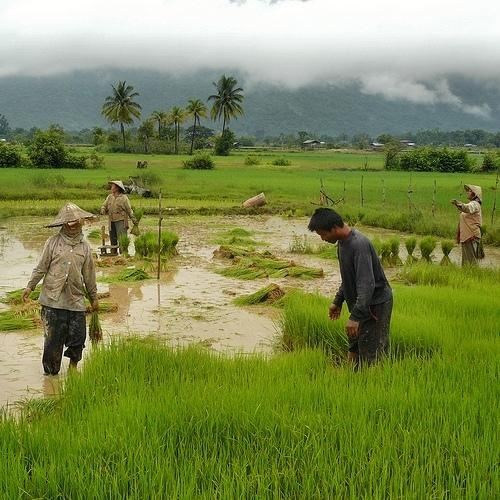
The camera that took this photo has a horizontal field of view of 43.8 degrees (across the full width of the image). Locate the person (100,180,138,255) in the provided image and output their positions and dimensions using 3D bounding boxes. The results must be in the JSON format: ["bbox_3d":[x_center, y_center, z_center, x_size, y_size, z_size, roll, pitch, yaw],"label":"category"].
[{"bbox_3d":[-3.090,-0.709,14.623,0.715,1.780,1.600,-2,6,-11],"label":"person"}]

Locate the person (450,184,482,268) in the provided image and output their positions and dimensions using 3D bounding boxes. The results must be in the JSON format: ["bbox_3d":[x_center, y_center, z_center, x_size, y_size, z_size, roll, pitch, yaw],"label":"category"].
[{"bbox_3d":[4.400,-0.470,12.454,0.453,1.667,1.287,1,6,23],"label":"person"}]

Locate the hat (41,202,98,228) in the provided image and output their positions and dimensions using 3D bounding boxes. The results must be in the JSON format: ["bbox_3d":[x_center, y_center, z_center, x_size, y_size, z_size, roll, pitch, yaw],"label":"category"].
[{"bbox_3d":[-1.951,-0.372,6.860,0.318,0.143,0.352,-11,-3,5],"label":"hat"}]

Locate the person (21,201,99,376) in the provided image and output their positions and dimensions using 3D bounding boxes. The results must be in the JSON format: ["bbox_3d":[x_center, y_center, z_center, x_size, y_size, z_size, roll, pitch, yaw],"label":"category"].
[{"bbox_3d":[-2.061,0.448,6.879,0.718,1.927,0.576,-3,6,-17],"label":"person"}]

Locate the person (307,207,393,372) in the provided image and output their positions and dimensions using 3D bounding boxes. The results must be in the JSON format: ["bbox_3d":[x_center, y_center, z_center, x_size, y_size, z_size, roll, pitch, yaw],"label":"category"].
[{"bbox_3d":[0.980,0.408,5.947,0.707,1.659,0.960,2,6,28],"label":"person"}]

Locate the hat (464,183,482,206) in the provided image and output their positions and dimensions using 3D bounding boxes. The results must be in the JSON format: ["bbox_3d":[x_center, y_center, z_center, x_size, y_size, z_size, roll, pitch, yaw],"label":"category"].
[{"bbox_3d":[4.499,-1.137,12.515,0.321,0.358,0.976,0,6,19],"label":"hat"}]
